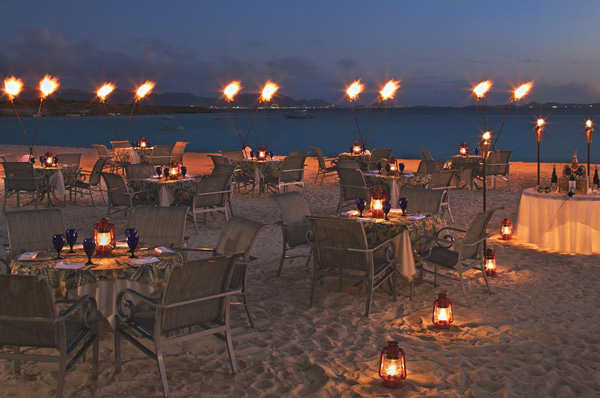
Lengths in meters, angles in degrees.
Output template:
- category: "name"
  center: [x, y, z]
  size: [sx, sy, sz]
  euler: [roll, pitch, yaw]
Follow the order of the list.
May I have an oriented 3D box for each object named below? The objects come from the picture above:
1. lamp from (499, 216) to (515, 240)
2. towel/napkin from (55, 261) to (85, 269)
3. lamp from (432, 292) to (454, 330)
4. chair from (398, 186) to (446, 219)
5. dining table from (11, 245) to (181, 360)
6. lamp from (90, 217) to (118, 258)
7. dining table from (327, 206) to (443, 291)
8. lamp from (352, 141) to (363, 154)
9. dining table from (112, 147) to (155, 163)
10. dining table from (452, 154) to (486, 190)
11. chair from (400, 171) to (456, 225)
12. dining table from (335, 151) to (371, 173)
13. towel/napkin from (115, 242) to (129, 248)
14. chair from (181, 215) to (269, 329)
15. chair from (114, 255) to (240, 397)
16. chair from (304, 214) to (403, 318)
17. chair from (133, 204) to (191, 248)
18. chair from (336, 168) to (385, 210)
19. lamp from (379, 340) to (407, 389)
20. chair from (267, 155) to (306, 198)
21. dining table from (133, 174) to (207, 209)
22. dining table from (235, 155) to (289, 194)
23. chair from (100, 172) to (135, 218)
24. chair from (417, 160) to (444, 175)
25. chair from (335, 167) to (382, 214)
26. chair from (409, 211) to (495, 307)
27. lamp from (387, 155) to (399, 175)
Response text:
- category: "lamp"
  center: [3.727, 0.526, 8.201]
  size: [0.207, 0.352, 0.357]
  euler: [5, 14, 23]
- category: "towel/napkin"
  center: [-2.191, 0.629, 4.323]
  size: [0.310, 0.018, 0.222]
  euler: [0, 13, 0]
- category: "lamp"
  center: [1.560, 1.246, 4.988]
  size: [0.229, 0.364, 0.161]
  euler: [0, 3, 13]
- category: "chair"
  center: [1.743, 0.032, 6.882]
  size: [0.568, 0.732, 0.534]
  euler: [1, 0, 30]
- category: "dining table"
  center: [-1.859, 0.912, 4.548]
  size: [1.006, 0.352, 0.968]
  euler: [3, 17, 5]
- category: "lamp"
  center: [-2.020, 0.374, 4.687]
  size: [0.227, 0.364, 0.237]
  euler: [13, 13, 41]
- category: "dining table"
  center: [1.169, 0.598, 6.410]
  size: [2.054, 0.684, 1.948]
  euler: [-1, 3, 2]
- category: "lamp"
  center: [1.703, -1.568, 13.772]
  size: [0.339, 0.385, 0.153]
  euler: [0, 2, 0]
- category: "dining table"
  center: [-5.615, -1.519, 15.393]
  size: [1.386, 0.480, 0.713]
  euler: [9, 16, 37]
- category: "dining table"
  center: [4.935, -0.837, 13.295]
  size: [0.940, 0.816, 0.856]
  euler: [-6, 6, -19]
- category: "chair"
  center: [2.595, -0.058, 9.107]
  size: [0.970, 1.057, 1.015]
  euler: [0, 10, 36]
- category: "dining table"
  center: [1.603, -1.115, 13.067]
  size: [0.938, 0.537, 0.904]
  euler: [-4, 6, -28]
- category: "towel/napkin"
  center: [-1.997, 0.508, 5.066]
  size: [0.117, 0.027, 0.114]
  euler: [5, 11, -3]
- category: "chair"
  center: [-0.879, 0.843, 5.048]
  size: [1.076, 1.072, 1.077]
  euler: [-5, -11, 21]
- category: "chair"
  center: [-1.078, 1.077, 4.021]
  size: [1.088, 1.162, 0.574]
  euler: [-3, 14, -10]
- category: "chair"
  center: [0.713, 0.675, 5.857]
  size: [1.183, 1.541, 1.190]
  euler: [2, 10, 28]
- category: "chair"
  center: [-1.671, 0.353, 5.785]
  size: [0.536, 0.718, 0.584]
  euler: [0, -3, 5]
- category: "chair"
  center: [1.273, -0.133, 9.559]
  size: [0.965, 1.092, 0.905]
  euler: [-7, 11, -37]
- category: "lamp"
  center: [0.830, 1.465, 4.086]
  size: [0.267, 0.369, 0.291]
  euler: [2, 14, 12]
- category: "chair"
  center: [-0.455, -0.603, 11.620]
  size: [1.016, 1.259, 1.086]
  euler: [-5, 17, -27]
- category: "dining table"
  center: [-2.438, -0.094, 9.167]
  size: [1.054, 0.317, 1.069]
  euler: [-16, -19, 21]
- category: "dining table"
  center: [-1.135, -0.497, 12.172]
  size: [1.161, 0.862, 1.231]
  euler: [5, 22, 10]
- category: "chair"
  center: [-3.394, -0.052, 8.797]
  size: [0.794, 0.885, 0.679]
  euler: [1, 10, 4]
- category: "chair"
  center: [3.377, -0.826, 11.799]
  size: [0.755, 0.419, 0.420]
  euler: [-5, 5, -27]
- category: "chair"
  center: [1.309, -0.133, 9.556]
  size: [0.973, 1.153, 1.008]
  euler: [2, 6, 35]
- category: "chair"
  center: [2.008, 0.687, 5.976]
  size: [0.965, 1.072, 0.930]
  euler: [5, 9, 29]
- category: "lamp"
  center: [1.949, -0.711, 9.669]
  size: [0.270, 0.319, 0.427]
  euler: [1, 13, 8]
